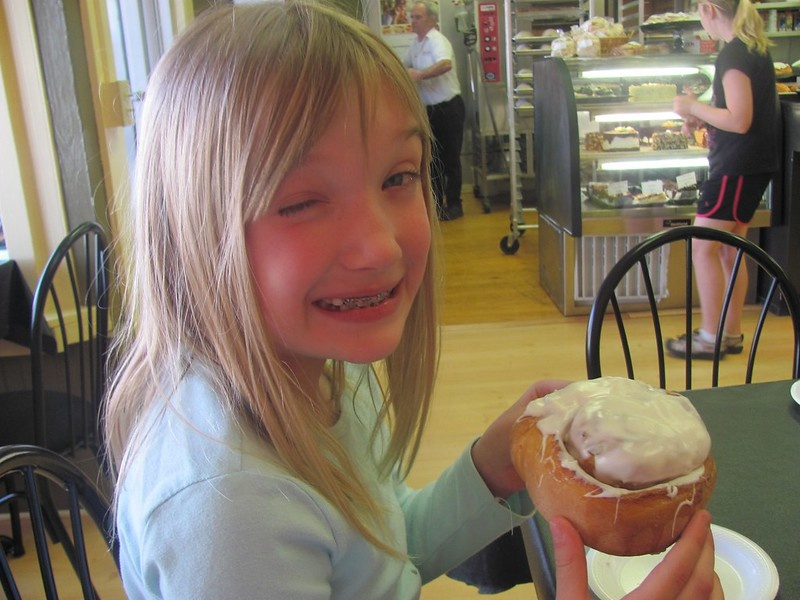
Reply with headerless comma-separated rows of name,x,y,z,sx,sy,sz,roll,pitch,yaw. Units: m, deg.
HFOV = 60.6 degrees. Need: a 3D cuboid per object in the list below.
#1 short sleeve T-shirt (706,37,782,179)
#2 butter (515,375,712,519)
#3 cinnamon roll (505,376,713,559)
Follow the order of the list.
short sleeve T-shirt,1.509,-0.816,2.998,0.323,0.663,0.616,-1,13,30
butter,0.288,0.170,0.881,0.179,0.114,0.200,3,12,23
cinnamon roll,0.268,0.204,0.874,0.233,0.133,0.222,-1,27,0
